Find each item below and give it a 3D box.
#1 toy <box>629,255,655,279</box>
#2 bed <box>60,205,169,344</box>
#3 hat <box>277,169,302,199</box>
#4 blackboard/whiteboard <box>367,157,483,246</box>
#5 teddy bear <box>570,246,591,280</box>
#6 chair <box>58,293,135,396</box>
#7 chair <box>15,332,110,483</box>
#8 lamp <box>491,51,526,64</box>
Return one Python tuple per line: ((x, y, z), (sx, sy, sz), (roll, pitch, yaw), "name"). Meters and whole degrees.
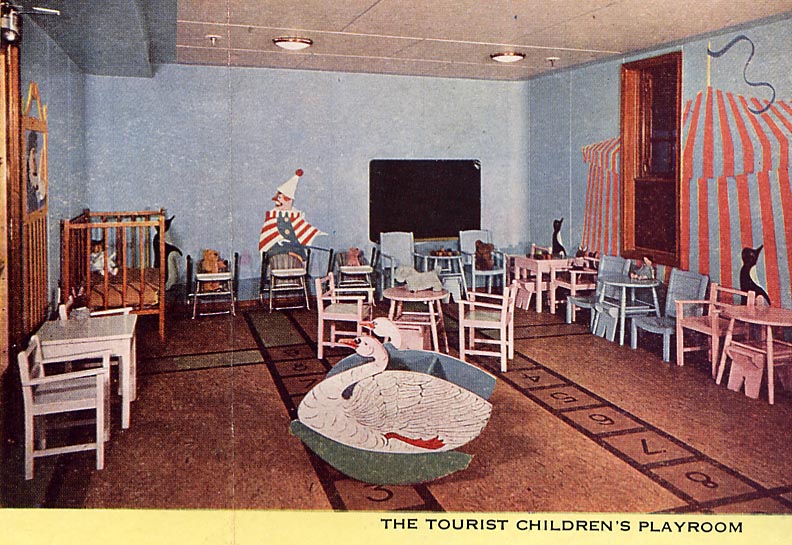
((2.388, 0.001, 6.217), (0.221, 0.226, 0.220), (6, -33, 14), "toy")
((-2.553, -0.065, 5.804), (0.708, 0.985, 1.313), (-1, 6, -22), "bed")
((-1.158, -0.958, 6.832), (0.162, 0.281, 0.195), (33, -4, 45), "hat")
((0.332, -0.776, 6.689), (0.957, 0.658, 0.037), (0, 6, 3), "blackboard/whiteboard")
((1.955, -0.110, 6.766), (0.237, 0.314, 0.113), (10, -5, -21), "teddy bear")
((-2.112, 0.535, 4.475), (0.394, 0.357, 0.734), (0, 8, -13), "chair")
((-2.110, 0.837, 4.128), (0.516, 0.728, 0.537), (0, 6, -19), "chair")
((1.098, -2.122, 6.319), (0.364, 0.080, 0.310), (5, 11, 31), "lamp")
